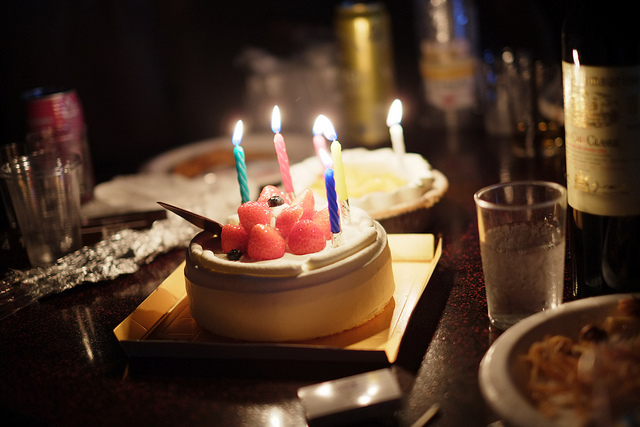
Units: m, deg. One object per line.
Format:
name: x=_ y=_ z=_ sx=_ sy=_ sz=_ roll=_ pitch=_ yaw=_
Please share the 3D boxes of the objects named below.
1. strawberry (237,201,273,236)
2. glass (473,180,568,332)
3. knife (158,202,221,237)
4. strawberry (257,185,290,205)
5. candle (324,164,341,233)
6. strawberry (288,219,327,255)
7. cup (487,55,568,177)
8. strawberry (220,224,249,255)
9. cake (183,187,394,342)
strawberry: x=-0.110 y=0.004 z=0.886 sx=0.064 sy=0.062 sz=0.049 roll=1 pitch=5 yaw=-36
glass: x=0.305 y=0.055 z=0.842 sx=0.128 sy=0.238 sz=0.129 roll=-18 pitch=20 yaw=-35
knife: x=-0.207 y=0.016 z=0.920 sx=0.142 sy=0.007 sz=0.038 roll=31 pitch=-17 yaw=-19
strawberry: x=-0.086 y=-0.034 z=0.978 sx=0.054 sy=0.027 sz=0.070 roll=-6 pitch=17 yaw=-3
candle: x=0.019 y=-0.024 z=0.850 sx=0.017 sy=0.107 sz=0.044 roll=-5 pitch=17 yaw=1
strawberry: x=-0.019 y=0.036 z=0.853 sx=0.065 sy=0.050 sz=0.035 roll=-8 pitch=17 yaw=-9
cup: x=0.595 y=-0.301 z=1.541 sx=0.195 sy=0.316 sz=0.195 roll=-3 pitch=4 yaw=0
strawberry: x=-0.142 y=0.040 z=0.878 sx=0.047 sy=0.047 sz=0.045 roll=3 pitch=5 yaw=25
cake: x=-0.055 y=0.057 z=0.950 sx=0.353 sy=0.208 sz=0.360 roll=2 pitch=17 yaw=25
